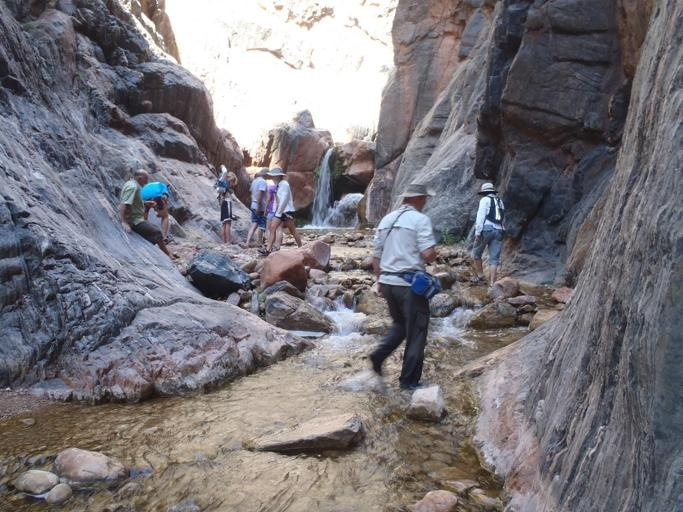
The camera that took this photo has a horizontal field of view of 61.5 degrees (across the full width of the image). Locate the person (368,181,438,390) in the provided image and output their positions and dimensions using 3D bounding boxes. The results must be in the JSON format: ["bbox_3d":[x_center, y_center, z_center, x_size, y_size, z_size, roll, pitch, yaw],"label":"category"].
[{"bbox_3d":[0.689,0.311,6.387,0.730,2.257,0.399,4,3,40],"label":"person"}]

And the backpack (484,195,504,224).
[{"bbox_3d":[2.787,-0.835,10.403,0.187,0.534,0.350,5,3,41],"label":"backpack"}]

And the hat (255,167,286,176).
[{"bbox_3d":[-1.455,-1.783,12.159,0.527,0.158,0.553,0,3,-17],"label":"hat"}]

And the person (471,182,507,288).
[{"bbox_3d":[2.667,-0.436,10.477,0.522,1.831,0.869,3,3,15],"label":"person"}]

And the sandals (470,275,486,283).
[{"bbox_3d":[2.577,0.416,10.753,0.307,0.149,0.135,2,3,-8],"label":"sandals"}]

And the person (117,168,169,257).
[{"bbox_3d":[-3.246,-0.704,9.611,0.852,1.477,0.664,-1,3,-35],"label":"person"}]

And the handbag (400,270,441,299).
[{"bbox_3d":[0.861,0.270,6.141,0.336,0.167,0.252,23,27,34],"label":"handbag"}]
